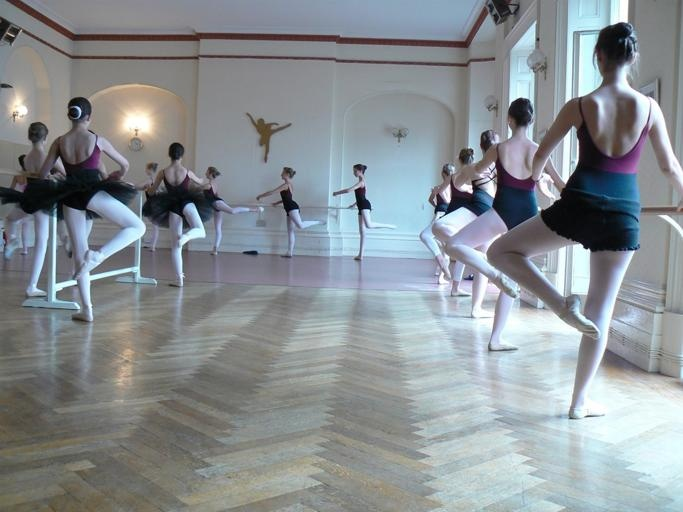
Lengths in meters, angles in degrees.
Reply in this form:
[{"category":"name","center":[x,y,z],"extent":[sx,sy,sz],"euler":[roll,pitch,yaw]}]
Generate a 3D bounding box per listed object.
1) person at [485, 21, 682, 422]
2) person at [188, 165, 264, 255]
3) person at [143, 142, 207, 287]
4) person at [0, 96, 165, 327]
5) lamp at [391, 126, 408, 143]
[{"category":"person","center":[1.223,-0.139,2.385],"extent":[0.821,1.908,0.316],"euler":[4,7,22]},{"category":"person","center":[-2.379,-0.851,9.074],"extent":[1.802,1.603,0.564],"euler":[3,-6,12]},{"category":"person","center":[-1.959,-0.503,5.608],"extent":[0.787,1.669,1.029],"euler":[-2,-4,-14]},{"category":"person","center":[-2.248,-0.394,4.130],"extent":[0.957,1.789,0.546],"euler":[5,7,29]},{"category":"lamp","center":[1.223,-2.571,10.434],"extent":[0.427,0.441,0.286],"euler":[2,9,6]}]
